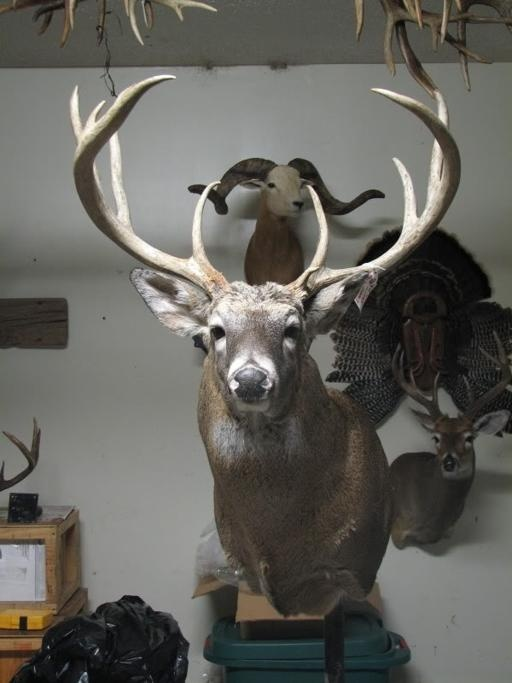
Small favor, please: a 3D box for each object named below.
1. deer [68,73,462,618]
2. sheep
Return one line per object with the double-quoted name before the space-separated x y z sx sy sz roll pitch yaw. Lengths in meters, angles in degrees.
"deer" 0.035 0.147 2.658 0.739 1.634 1.214 -1 -3 25
"sheep" 0.112 -0.441 3.188 0.707 0.425 0.290 -1 1 -17
